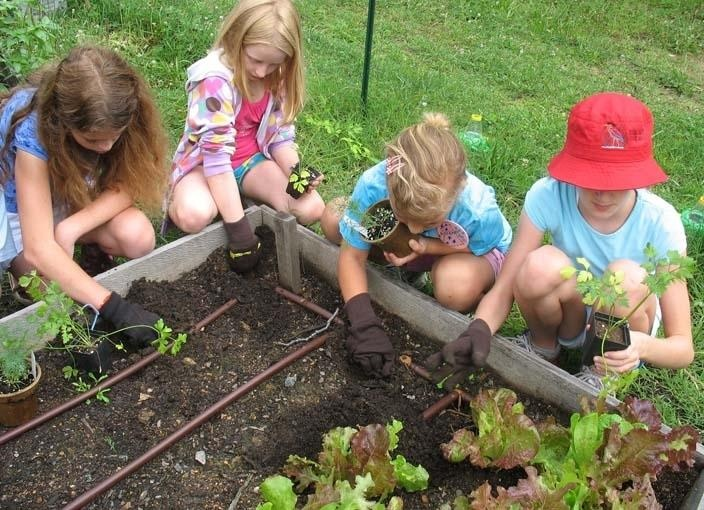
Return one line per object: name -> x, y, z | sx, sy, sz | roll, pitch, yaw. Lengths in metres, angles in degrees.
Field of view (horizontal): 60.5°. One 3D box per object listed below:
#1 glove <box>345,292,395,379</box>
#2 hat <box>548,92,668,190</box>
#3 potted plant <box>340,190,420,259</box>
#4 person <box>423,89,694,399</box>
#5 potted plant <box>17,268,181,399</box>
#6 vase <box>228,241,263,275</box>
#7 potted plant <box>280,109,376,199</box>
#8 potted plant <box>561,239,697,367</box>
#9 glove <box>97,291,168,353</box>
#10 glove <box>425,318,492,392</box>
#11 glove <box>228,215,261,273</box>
glove -> 0.087, 0.439, 3.224 | 0.224, 0.127, 0.417 | -17, 55, -11
hat -> 1.201, -0.524, 2.899 | 0.470, 0.330, 0.467 | 14, 26, 26
potted plant -> 0.159, -0.137, 3.306 | 0.260, 0.330, 0.317 | 34, 19, -27
person -> 1.105, 0.000, 3.264 | 1.266, 1.477, 1.046 | -35, 47, -29
potted plant -> -1.308, 0.412, 3.099 | 0.468, 1.005, 0.471 | 10, 76, 31
vase -> -0.645, 0.020, 3.579 | 0.147, 0.158, 0.203 | -1, -4, -1
potted plant -> -0.179, -0.758, 4.823 | 0.586, 0.317, 0.513 | 23, 40, -1
potted plant -> 1.421, 0.244, 3.102 | 0.600, 0.244, 0.669 | -10, 82, -7
glove -> -1.166, 0.344, 3.217 | 0.365, 0.147, 0.229 | 45, 47, -10
glove -> 0.547, 0.520, 3.069 | 0.253, 0.282, 0.350 | 20, 38, 19
glove -> -0.650, -0.055, 3.603 | 0.190, 0.333, 0.316 | -15, 0, -8
